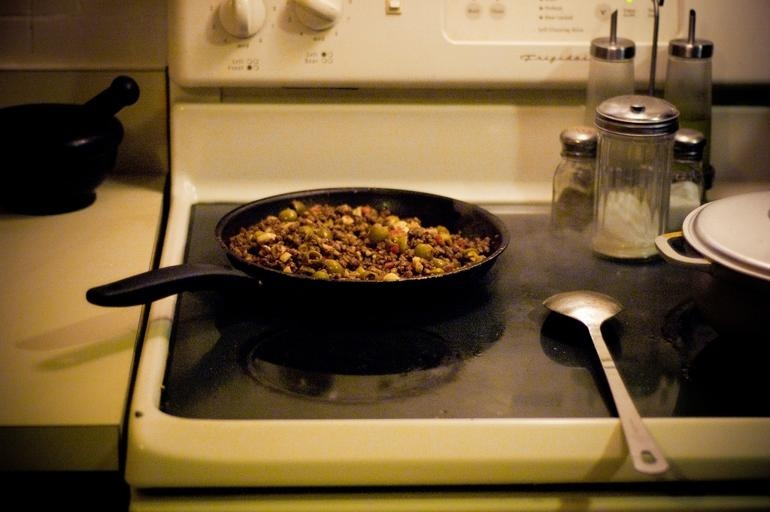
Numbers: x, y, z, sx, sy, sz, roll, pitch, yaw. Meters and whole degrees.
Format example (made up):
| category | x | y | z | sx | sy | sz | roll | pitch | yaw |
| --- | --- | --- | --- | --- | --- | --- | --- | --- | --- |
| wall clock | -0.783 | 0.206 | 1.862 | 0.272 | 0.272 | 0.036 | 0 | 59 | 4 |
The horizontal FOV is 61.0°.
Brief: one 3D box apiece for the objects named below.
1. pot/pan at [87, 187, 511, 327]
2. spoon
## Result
| category | x | y | z | sx | sy | sz | roll | pitch | yaw |
| --- | --- | --- | --- | --- | --- | --- | --- | --- | --- |
| pot/pan | -0.051 | 0.003 | 0.872 | 0.387 | 0.050 | 0.241 | -16 | 30 | -32 |
| spoon | 0.259 | 0.132 | 0.760 | 0.103 | 0.022 | 0.323 | 10 | 30 | -3 |
